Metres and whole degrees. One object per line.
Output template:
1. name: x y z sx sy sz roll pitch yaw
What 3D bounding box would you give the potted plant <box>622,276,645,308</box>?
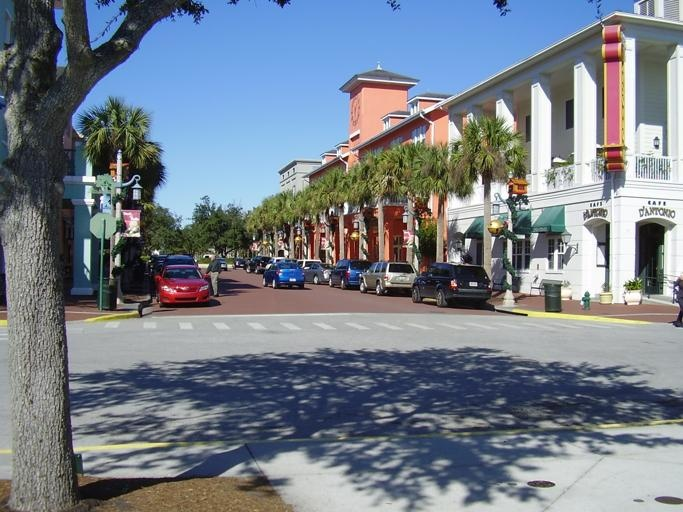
1. potted plant: 12.386 1.565 27.393 0.974 1.494 0.942 1 -6 4

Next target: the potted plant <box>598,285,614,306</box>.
1. potted plant: 11.712 1.762 28.509 0.709 1.214 0.767 0 0 3

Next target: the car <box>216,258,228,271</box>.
1. car: -10.479 0.775 56.182 1.101 0.982 2.718 0 8 -10

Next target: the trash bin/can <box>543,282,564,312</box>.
1. trash bin/can: 8.010 1.589 24.193 0.597 1.041 0.637 1 1 18

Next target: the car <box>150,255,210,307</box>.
1. car: -7.405 1.164 28.984 1.942 1.886 4.898 -1 -2 -14

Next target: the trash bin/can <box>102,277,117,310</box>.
1. trash bin/can: -8.171 1.347 22.468 0.424 1.070 0.344 0 1 -29
